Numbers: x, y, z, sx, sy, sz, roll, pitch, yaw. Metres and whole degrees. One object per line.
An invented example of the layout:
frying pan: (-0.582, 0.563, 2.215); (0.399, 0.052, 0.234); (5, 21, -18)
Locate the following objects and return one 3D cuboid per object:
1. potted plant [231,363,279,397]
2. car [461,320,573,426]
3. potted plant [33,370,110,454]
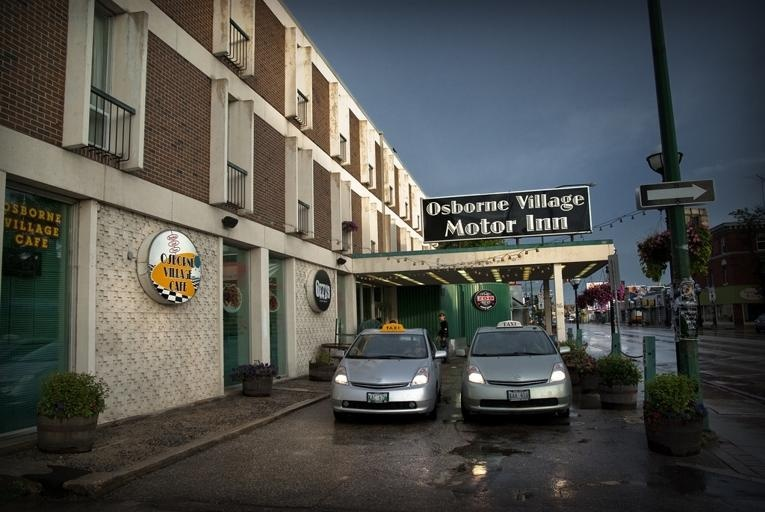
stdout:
potted plant: (-3.425, 3.415, 15.523); (0.851, 0.683, 0.921); (-1, -15, -2)
car: (2.938, 2.453, 12.266); (1.418, 1.287, 2.771); (-3, -17, 8)
potted plant: (-5.601, 2.635, 10.414); (1.325, 1.652, 1.209); (-1, -3, 43)
